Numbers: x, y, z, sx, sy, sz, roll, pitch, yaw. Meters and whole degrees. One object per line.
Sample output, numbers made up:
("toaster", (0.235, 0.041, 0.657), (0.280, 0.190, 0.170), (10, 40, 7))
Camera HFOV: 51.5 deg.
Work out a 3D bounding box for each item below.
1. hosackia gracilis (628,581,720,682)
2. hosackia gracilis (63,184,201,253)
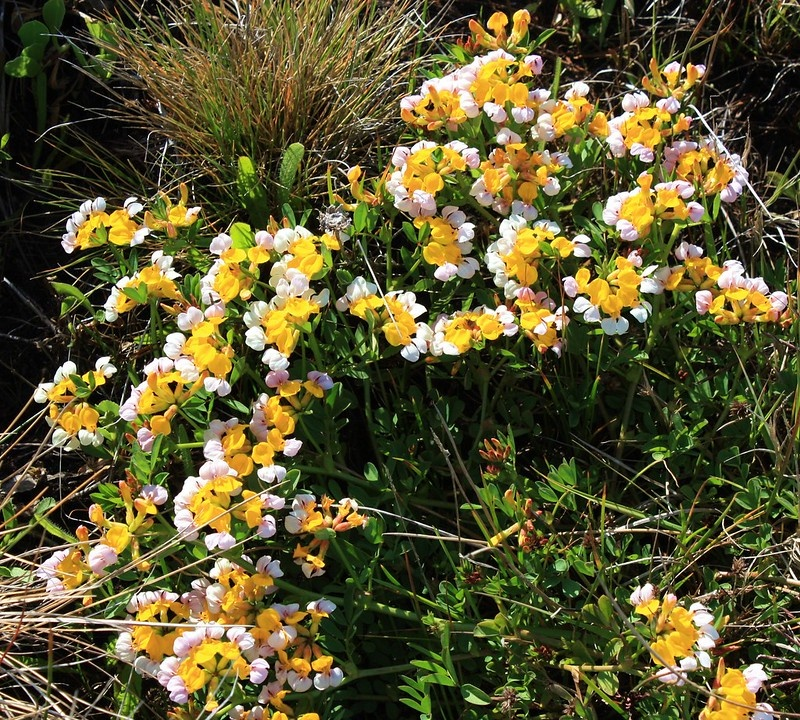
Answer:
("hosackia gracilis", (0.666, 0.628, 1.996), (0.188, 0.104, 0.248), (-15, 91, 9))
("hosackia gracilis", (-0.843, -0.397, 2.574), (0.390, 0.121, 0.236), (-15, 66, -10))
